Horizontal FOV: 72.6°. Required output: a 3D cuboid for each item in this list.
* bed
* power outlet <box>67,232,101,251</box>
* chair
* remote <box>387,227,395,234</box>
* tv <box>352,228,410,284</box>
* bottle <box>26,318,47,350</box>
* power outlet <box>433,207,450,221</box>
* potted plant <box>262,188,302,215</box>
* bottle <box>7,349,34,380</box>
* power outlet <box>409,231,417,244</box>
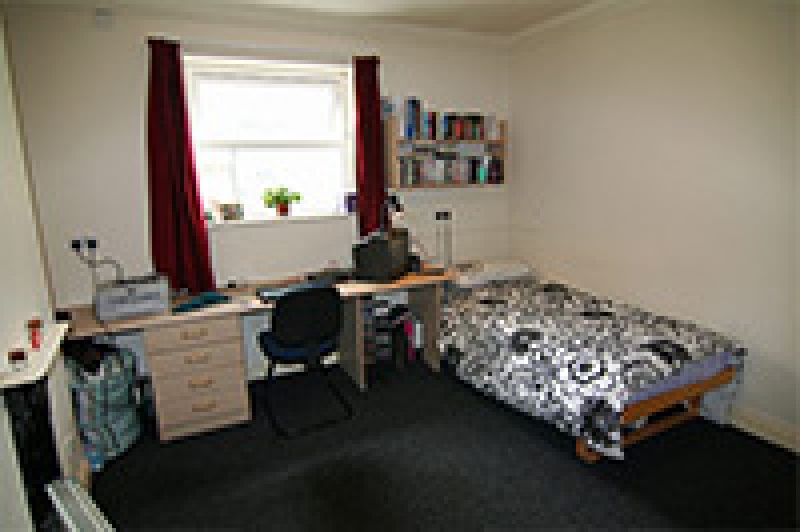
[{"bbox_3d":[1.179,0.627,4.778,1.375,0.626,2.050,-12,19,-18],"label":"bed"},{"bbox_3d":[-2.503,-0.185,4.308,0.217,0.132,0.026,-9,14,-20],"label":"power outlet"},{"bbox_3d":[-0.783,0.654,4.471,0.669,1.131,0.777,-7,16,-23],"label":"chair"},{"bbox_3d":[-0.079,-0.293,4.726,0.028,0.046,0.062,-11,-6,40],"label":"remote"},{"bbox_3d":[-0.165,-0.111,4.826,0.410,0.444,0.436,3,13,30],"label":"tv"},{"bbox_3d":[-2.273,0.422,3.398,0.081,0.157,0.179,-13,16,-35],"label":"bottle"},{"bbox_3d":[0.404,-0.504,5.419,0.169,0.115,0.039,-6,10,-24],"label":"power outlet"},{"bbox_3d":[-1.057,-0.566,4.886,0.311,0.256,0.168,-8,14,-17],"label":"potted plant"},{"bbox_3d":[-2.216,0.565,3.157,0.142,0.149,0.150,-3,10,-21],"label":"bottle"},{"bbox_3d":[0.133,-0.269,5.337,0.069,0.121,0.015,-9,14,-21],"label":"power outlet"}]
